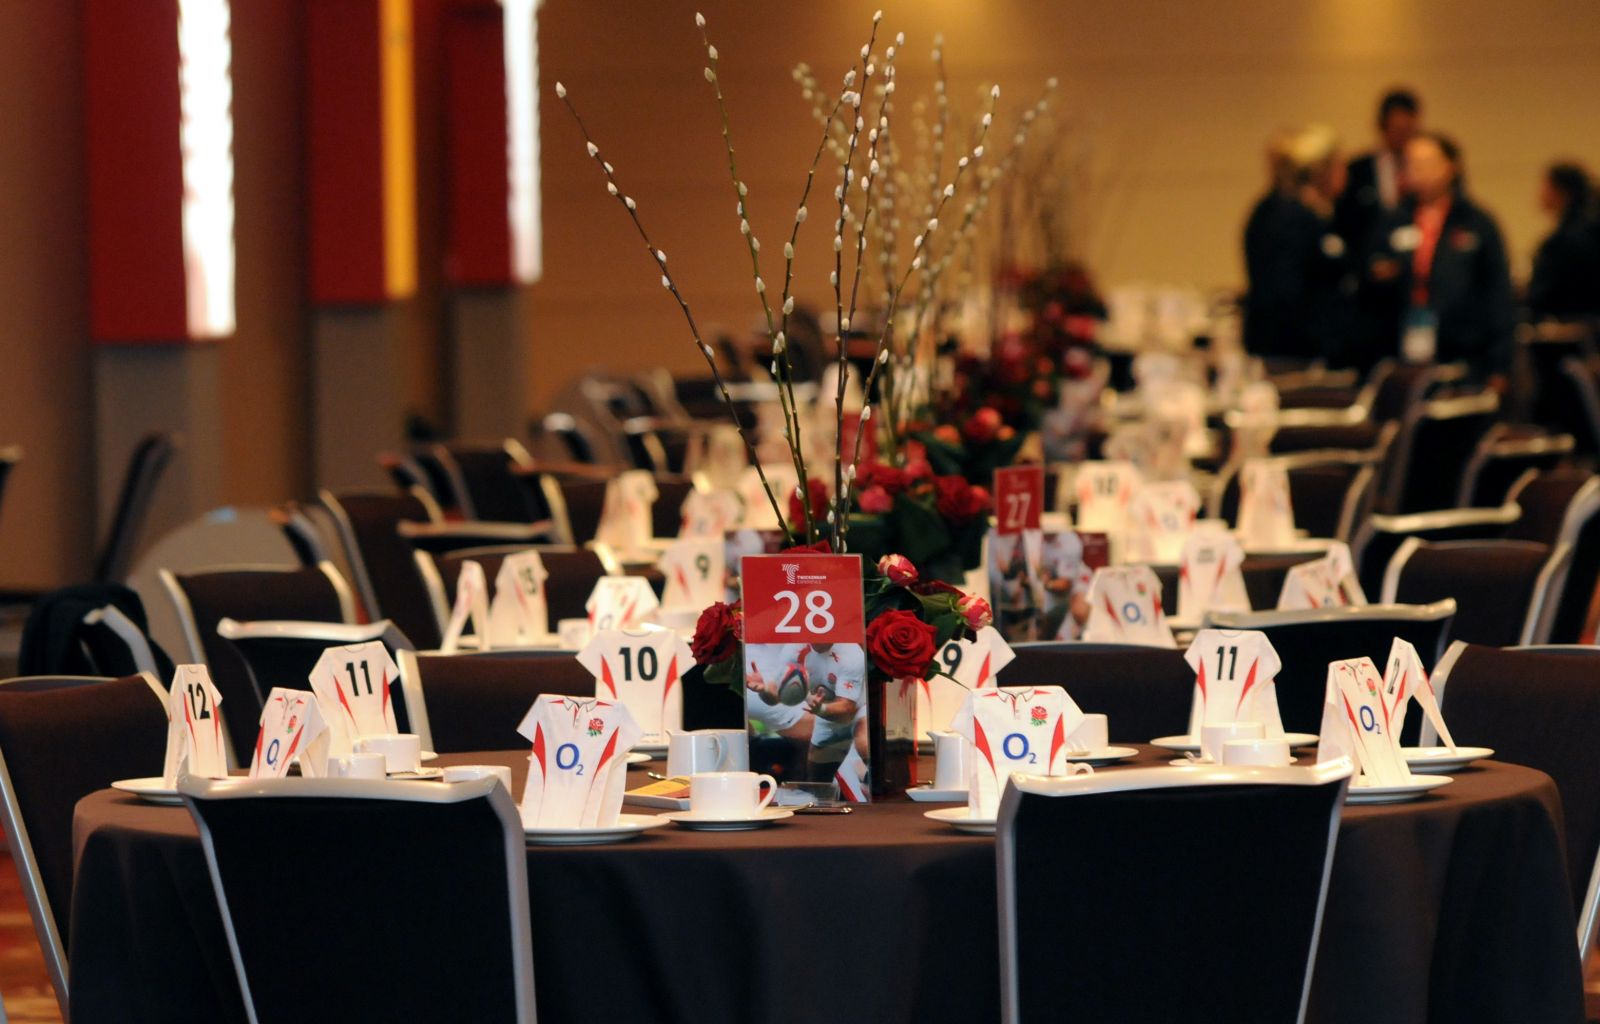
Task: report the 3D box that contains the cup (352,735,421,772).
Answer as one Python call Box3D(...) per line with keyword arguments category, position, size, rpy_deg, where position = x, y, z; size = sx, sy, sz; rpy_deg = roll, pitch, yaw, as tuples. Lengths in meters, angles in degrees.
Box3D(category="cup", position=(-0.836, 0.482, 3.779), size=(0.080, 0.056, 0.086), rpy_deg=(2, -2, 0))

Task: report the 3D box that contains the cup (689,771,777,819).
Box3D(category="cup", position=(-0.123, 0.529, 3.501), size=(0.113, 0.070, 0.090), rpy_deg=(1, -6, -1))

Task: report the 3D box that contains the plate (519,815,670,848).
Box3D(category="plate", position=(-0.357, 0.577, 3.409), size=(0.144, 0.034, 0.287), rpy_deg=(2, 3, 44))

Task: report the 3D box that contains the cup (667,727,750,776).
Box3D(category="cup", position=(-0.180, 0.477, 3.706), size=(0.087, 0.091, 0.120), rpy_deg=(2, -2, -24))

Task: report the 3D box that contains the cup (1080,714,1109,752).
Box3D(category="cup", position=(0.620, 0.458, 3.893), size=(0.082, 0.071, 0.065), rpy_deg=(-3, -2, 28))
